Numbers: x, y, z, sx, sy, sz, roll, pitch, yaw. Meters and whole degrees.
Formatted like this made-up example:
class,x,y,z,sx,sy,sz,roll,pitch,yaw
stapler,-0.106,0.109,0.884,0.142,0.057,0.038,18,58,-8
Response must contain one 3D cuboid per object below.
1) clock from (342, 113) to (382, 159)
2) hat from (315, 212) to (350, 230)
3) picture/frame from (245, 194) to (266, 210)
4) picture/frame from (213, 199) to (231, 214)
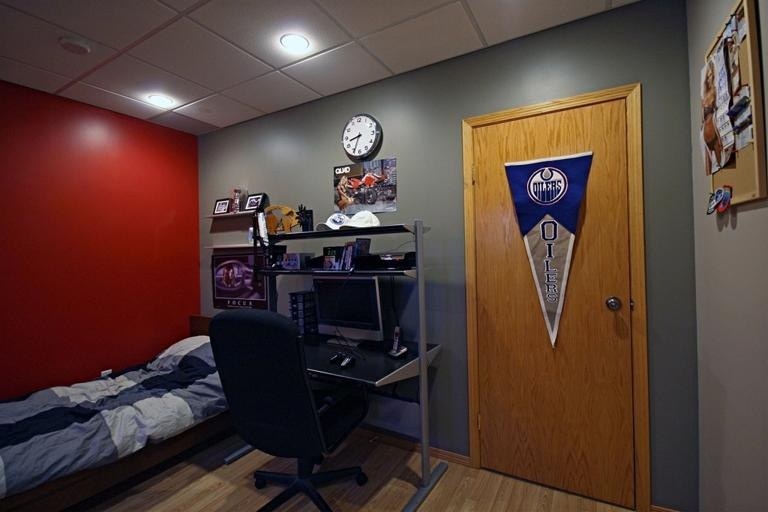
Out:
class,x,y,z,sx,sy,sz,roll,pitch,yaw
clock,-0.178,-1.071,4.512,0.388,0.395,0.079,-5,-8,33
hat,-0.410,-0.291,4.299,0.151,0.086,0.237,3,17,41
picture/frame,-1.344,-0.551,5.163,0.292,0.171,0.132,0,6,38
picture/frame,-1.713,-0.522,5.342,0.173,0.133,0.026,-2,-15,30
